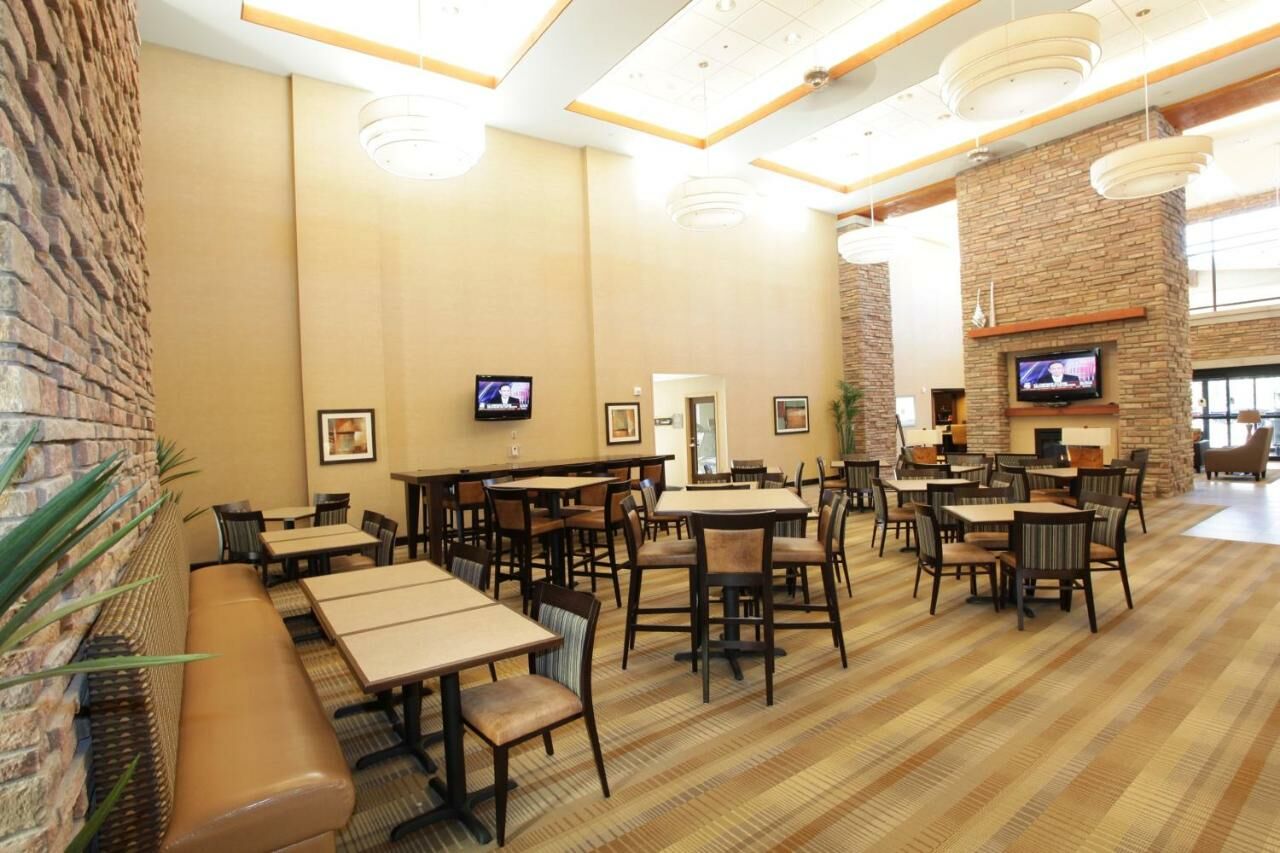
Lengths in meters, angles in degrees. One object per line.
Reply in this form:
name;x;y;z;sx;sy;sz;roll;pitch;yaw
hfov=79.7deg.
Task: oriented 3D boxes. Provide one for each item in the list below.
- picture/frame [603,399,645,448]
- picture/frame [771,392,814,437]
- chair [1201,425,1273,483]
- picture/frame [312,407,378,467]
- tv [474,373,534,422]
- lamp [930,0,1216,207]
picture/frame;-0.277;-0.054;12.005;0.728;0.690;0.071;-1;0;-41
picture/frame;2.787;-0.236;14.417;0.972;0.720;0.062;-1;0;-38
chair;10.658;0.498;13.901;1.114;1.033;1.123;0;-3;39
picture/frame;-3.672;0.108;9.626;0.073;0.702;0.759;2;4;42
tv;-1.946;-0.414;10.685;0.795;0.483;0.104;-1;1;-38
lamp;5.468;-4.088;9.559;2.273;1.341;0.868;12;-19;-36
